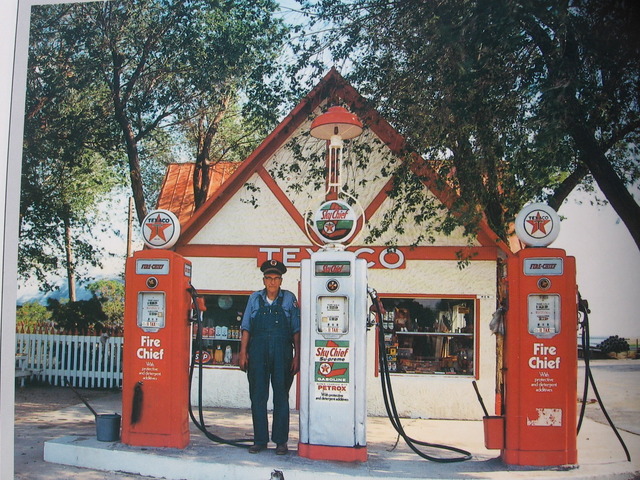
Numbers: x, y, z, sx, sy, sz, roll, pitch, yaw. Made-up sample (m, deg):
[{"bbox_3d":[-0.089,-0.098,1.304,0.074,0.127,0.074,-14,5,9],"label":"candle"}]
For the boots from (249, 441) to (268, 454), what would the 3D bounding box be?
[{"bbox_3d":[-1.016,3.432,13.027,0.125,0.156,0.327,-8,-19,40],"label":"boots"}]

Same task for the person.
[{"bbox_3d":[-0.824,1.934,13.080,0.967,3.092,0.913,0,10,-1],"label":"person"}]

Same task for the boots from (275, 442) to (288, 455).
[{"bbox_3d":[-0.621,3.401,12.943,0.204,0.165,0.129,0,11,-4],"label":"boots"}]

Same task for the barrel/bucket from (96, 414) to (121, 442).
[{"bbox_3d":[-3.520,3.127,13.192,0.383,0.416,0.370,0,-12,0],"label":"barrel/bucket"}]
